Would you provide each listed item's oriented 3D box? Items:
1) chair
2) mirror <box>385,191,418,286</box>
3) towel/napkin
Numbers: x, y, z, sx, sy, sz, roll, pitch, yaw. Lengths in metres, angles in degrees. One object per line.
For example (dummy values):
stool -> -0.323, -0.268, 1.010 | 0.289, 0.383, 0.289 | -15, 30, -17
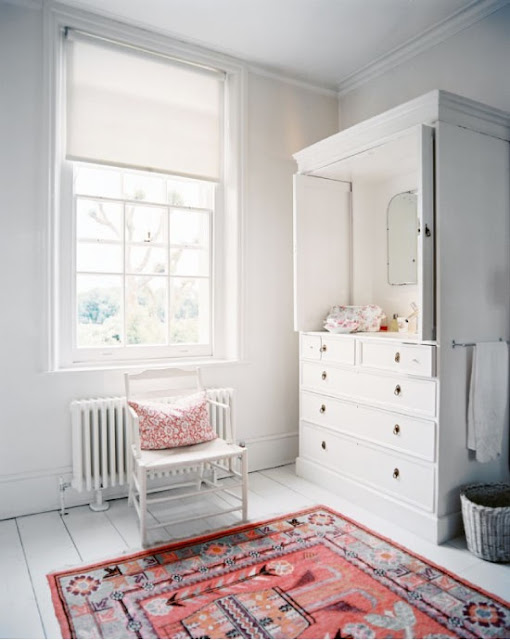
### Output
chair -> -0.403, 0.640, 2.695 | 0.718, 1.140, 0.725 | -1, -2, -22
mirror -> 0.916, -0.512, 3.164 | 0.299, 0.572, 0.019 | -6, 8, -32
towel/napkin -> 1.131, 0.384, 2.453 | 0.342, 0.555, 0.084 | -1, 1, -42
